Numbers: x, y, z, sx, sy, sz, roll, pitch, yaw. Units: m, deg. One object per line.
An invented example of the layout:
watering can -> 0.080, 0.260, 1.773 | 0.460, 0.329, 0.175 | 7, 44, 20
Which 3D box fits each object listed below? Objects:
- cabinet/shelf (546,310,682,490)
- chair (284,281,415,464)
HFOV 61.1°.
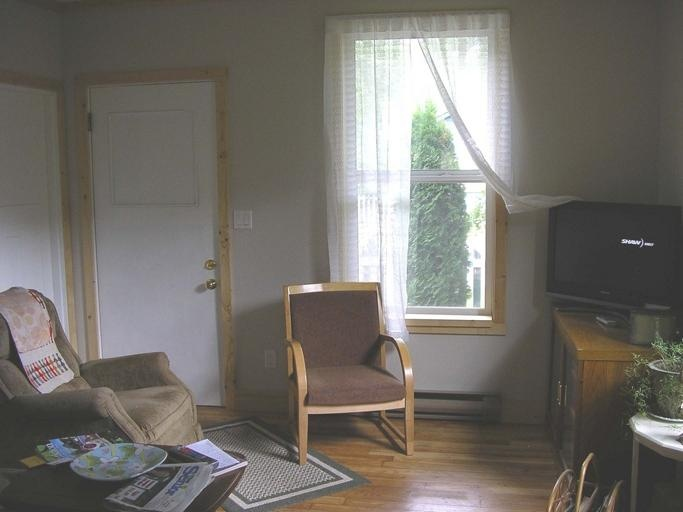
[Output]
cabinet/shelf -> 1.112, 0.582, 2.323 | 0.273, 0.668, 0.691 | -1, 14, 5
chair -> 0.011, 0.584, 3.077 | 0.578, 0.864, 0.645 | -1, 1, -12
